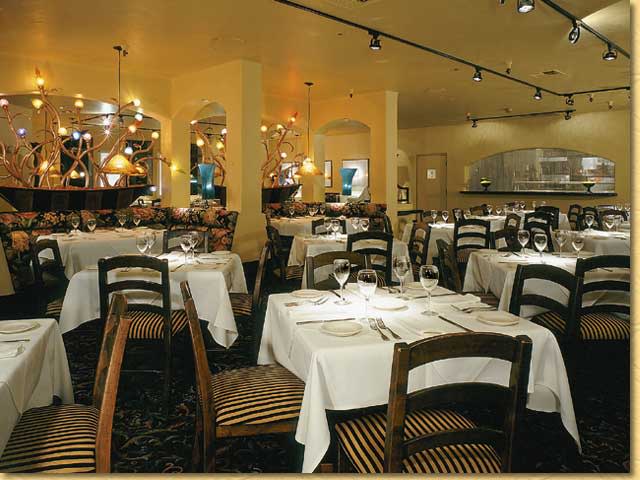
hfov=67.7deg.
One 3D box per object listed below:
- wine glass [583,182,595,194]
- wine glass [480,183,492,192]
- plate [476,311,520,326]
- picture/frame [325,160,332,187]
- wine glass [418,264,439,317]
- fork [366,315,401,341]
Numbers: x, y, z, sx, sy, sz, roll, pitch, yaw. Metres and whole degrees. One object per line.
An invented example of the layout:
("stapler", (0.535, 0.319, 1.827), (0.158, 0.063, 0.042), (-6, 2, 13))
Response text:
("wine glass", (6.823, -1.361, 12.127), (0.334, 0.275, 0.337), (-2, 1, -37))
("wine glass", (4.654, -1.515, 13.408), (0.309, 0.263, 0.315), (-2, 13, -9))
("plate", (1.021, 0.448, 2.750), (0.232, 0.027, 0.229), (2, 8, 25))
("picture/frame", (0.280, -2.248, 16.113), (0.129, 0.926, 0.349), (-7, 8, -39))
("wine glass", (0.679, 0.269, 2.983), (0.093, 0.295, 0.456), (0, 7, 12))
("fork", (0.339, 0.474, 2.599), (0.056, 0.030, 0.200), (-2, 17, -10))
